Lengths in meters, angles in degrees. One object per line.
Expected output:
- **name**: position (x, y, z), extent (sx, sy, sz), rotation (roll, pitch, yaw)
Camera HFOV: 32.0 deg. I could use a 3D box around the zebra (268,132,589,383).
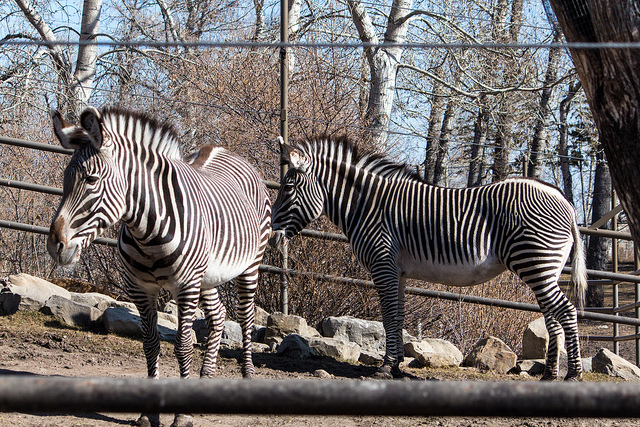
- **zebra**: position (1.673, 0.750, 18.124), extent (5.274, 3.847, 1.458), rotation (2, 4, 12)
